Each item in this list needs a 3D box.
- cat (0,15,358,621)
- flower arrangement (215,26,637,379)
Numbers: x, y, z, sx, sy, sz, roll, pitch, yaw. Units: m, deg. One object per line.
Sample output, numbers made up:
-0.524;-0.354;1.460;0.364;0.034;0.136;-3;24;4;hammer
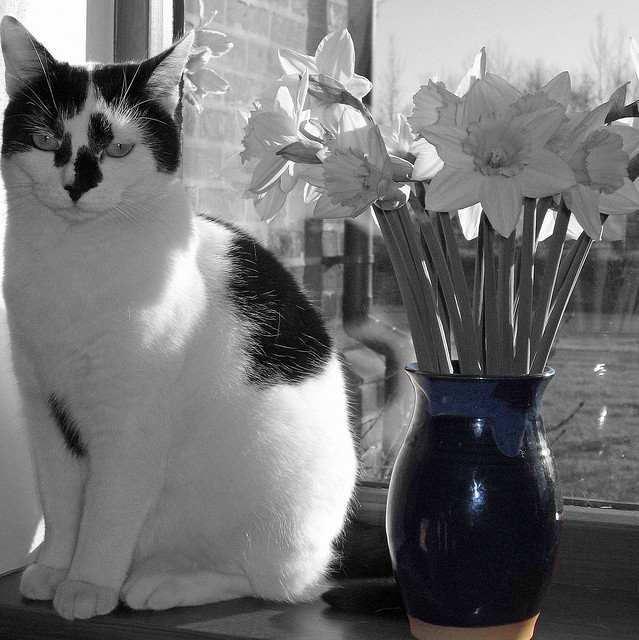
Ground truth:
-0.302;-0.005;1.601;0.591;1.254;0.622;1;-1;-26;cat
0.127;-0.112;0.893;0.433;0.365;0.328;0;15;-20;flower arrangement
